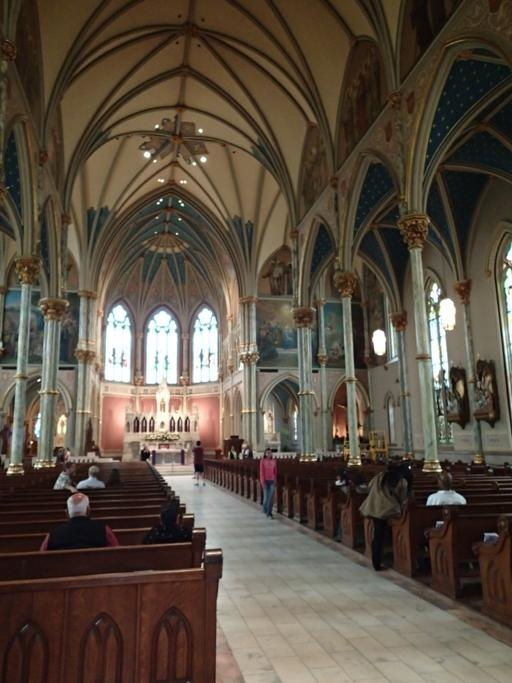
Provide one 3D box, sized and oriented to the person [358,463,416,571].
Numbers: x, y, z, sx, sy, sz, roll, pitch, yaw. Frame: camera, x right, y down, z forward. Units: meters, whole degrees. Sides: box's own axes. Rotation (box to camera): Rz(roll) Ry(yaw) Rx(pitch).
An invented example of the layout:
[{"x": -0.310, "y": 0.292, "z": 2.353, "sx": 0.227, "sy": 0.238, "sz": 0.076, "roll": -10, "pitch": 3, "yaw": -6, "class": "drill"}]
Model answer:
[{"x": 1.583, "y": 2.130, "z": 6.179, "sx": 0.639, "sy": 1.197, "sz": 0.511, "roll": -6, "pitch": -12, "yaw": 16, "class": "person"}]
